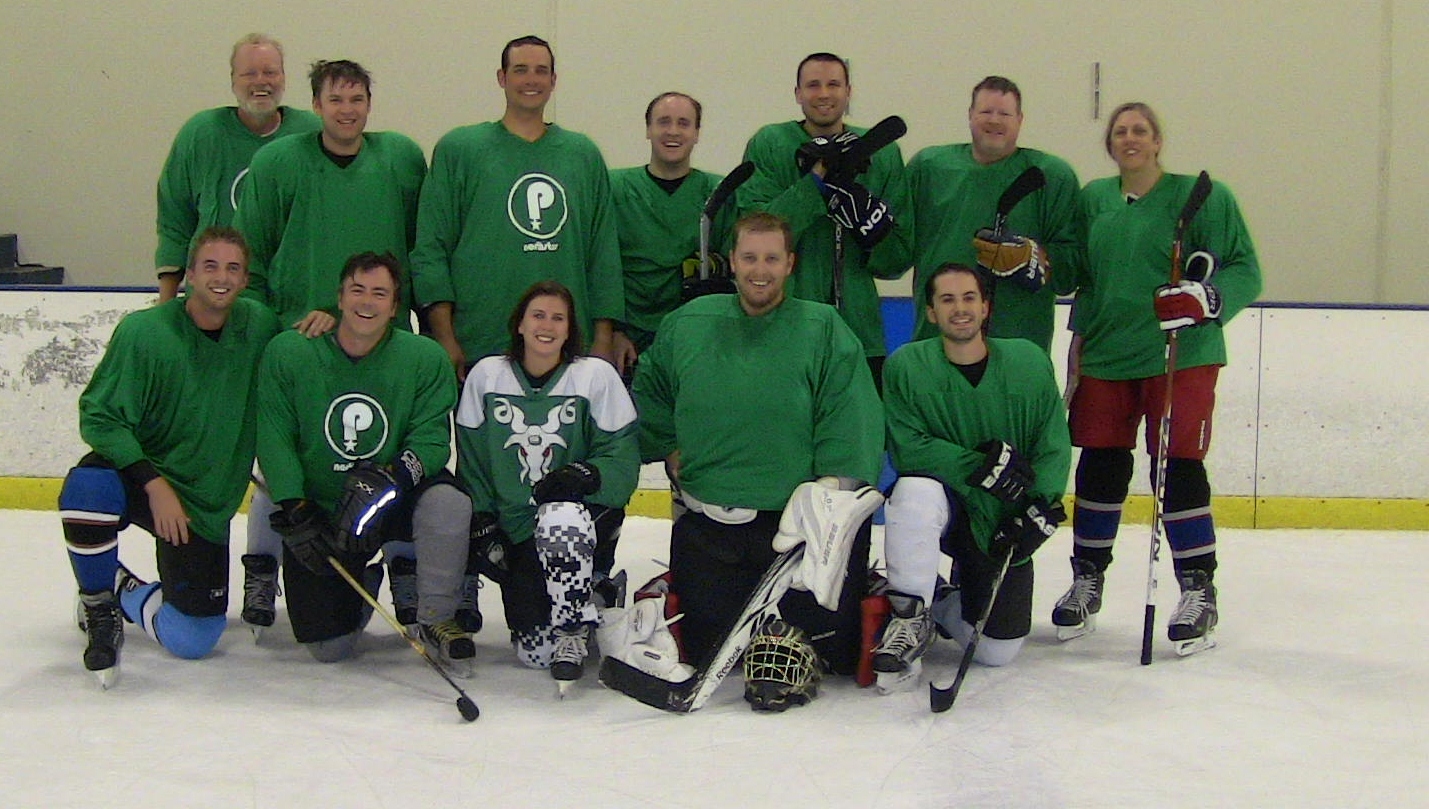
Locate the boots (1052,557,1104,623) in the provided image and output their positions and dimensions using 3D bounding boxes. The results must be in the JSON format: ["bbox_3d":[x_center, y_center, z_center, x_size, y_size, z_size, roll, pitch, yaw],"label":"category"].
[{"bbox_3d":[1.924,0.992,7.297,0.173,0.342,0.513,9,16,35],"label":"boots"}]

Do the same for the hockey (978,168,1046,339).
[{"bbox_3d":[1.604,-0.951,7.288,0.166,0.571,0.622,13,15,22],"label":"hockey"}]

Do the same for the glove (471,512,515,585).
[{"bbox_3d":[-1.097,0.719,6.797,0.244,0.316,0.129,-17,7,-3],"label":"glove"}]

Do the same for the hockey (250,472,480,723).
[{"bbox_3d":[-1.678,0.958,6.761,1.535,0.121,0.211,40,30,10],"label":"hockey"}]

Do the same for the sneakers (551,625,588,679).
[{"bbox_3d":[-0.695,1.203,6.716,0.181,0.277,0.459,1,6,-7],"label":"sneakers"}]

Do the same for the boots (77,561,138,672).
[{"bbox_3d":[-2.971,1.067,6.759,0.208,0.267,0.639,-11,40,-9],"label":"boots"}]

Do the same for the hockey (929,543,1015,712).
[{"bbox_3d":[1.280,1.100,6.735,0.097,0.249,0.916,28,57,16],"label":"hockey"}]

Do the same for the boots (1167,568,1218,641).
[{"bbox_3d":[2.463,1.048,7.068,0.221,0.369,0.365,4,7,22],"label":"boots"}]

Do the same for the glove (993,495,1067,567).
[{"bbox_3d":[1.535,0.580,6.765,0.249,0.414,0.179,42,0,30],"label":"glove"}]

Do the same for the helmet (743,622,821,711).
[{"bbox_3d":[0.279,1.262,6.711,0.429,0.421,0.522,11,-15,-4],"label":"helmet"}]

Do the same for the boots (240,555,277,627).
[{"bbox_3d":[-2.334,0.961,7.120,0.157,0.176,0.418,-3,31,-16],"label":"boots"}]

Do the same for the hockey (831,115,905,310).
[{"bbox_3d":[0.759,-1.024,7.317,0.276,1.232,0.224,14,22,11],"label":"hockey"}]

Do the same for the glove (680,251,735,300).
[{"bbox_3d":[-0.032,-0.690,7.389,0.306,0.265,0.225,-9,8,-4],"label":"glove"}]

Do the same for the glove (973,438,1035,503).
[{"bbox_3d":[1.449,0.349,6.820,0.319,0.177,0.417,-32,-33,34],"label":"glove"}]

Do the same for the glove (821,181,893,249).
[{"bbox_3d":[0.749,-1.004,7.150,0.382,0.267,0.160,42,28,-1],"label":"glove"}]
